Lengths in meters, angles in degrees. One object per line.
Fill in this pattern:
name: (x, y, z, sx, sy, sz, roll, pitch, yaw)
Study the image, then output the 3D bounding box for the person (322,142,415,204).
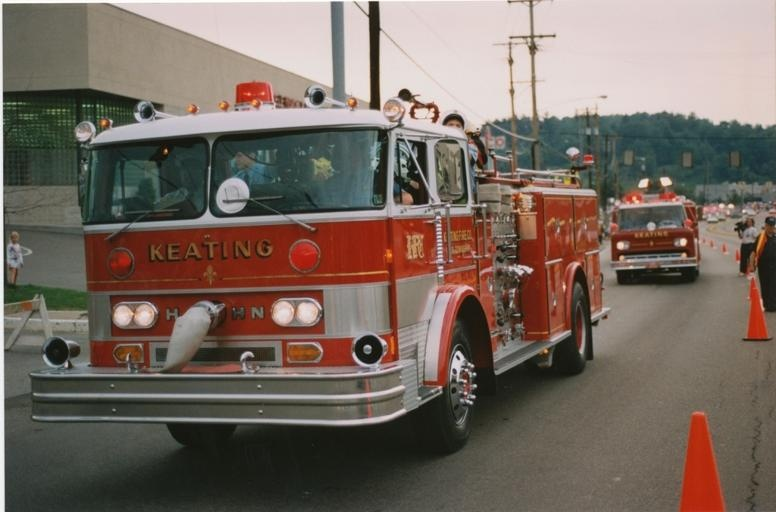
person: (-0.264, -0.921, 9.315, 0.775, 0.830, 1.428, -3, -6, -7)

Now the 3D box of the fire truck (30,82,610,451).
fire truck: (-0.043, 0.308, 11.446, 3.602, 3.438, 7.810, -3, -4, 29)

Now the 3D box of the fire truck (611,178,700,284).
fire truck: (8.896, -0.704, 27.177, 2.025, 2.437, 4.473, -3, -3, 18)
